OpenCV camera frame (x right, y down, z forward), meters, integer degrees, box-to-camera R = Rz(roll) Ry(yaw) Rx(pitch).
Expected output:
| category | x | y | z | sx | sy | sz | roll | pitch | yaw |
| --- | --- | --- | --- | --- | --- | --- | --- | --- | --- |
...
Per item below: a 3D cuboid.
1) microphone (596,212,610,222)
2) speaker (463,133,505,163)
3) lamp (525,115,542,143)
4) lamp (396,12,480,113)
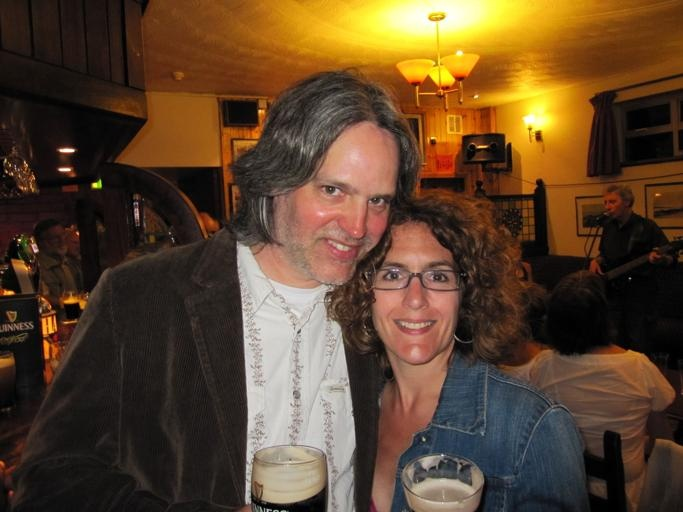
| category | x | y | z | sx | sy | sz | roll | pitch | yaw |
| --- | --- | --- | --- | --- | --- | --- | --- | --- | --- |
| microphone | 3.383 | -0.502 | 7.651 | 0.207 | 0.108 | 0.368 | 1 | 7 | 11 |
| speaker | 2.500 | -1.890 | 10.304 | 0.716 | 0.502 | 0.524 | 2 | 7 | 23 |
| lamp | 3.426 | -2.321 | 10.708 | 0.292 | 0.521 | 0.375 | -3 | 5 | -36 |
| lamp | 1.050 | -2.028 | 6.176 | 0.827 | 0.936 | 0.970 | -2 | 6 | 24 |
